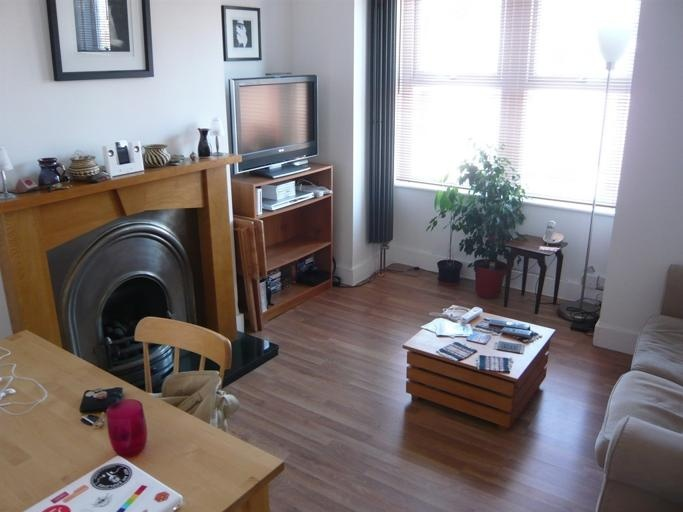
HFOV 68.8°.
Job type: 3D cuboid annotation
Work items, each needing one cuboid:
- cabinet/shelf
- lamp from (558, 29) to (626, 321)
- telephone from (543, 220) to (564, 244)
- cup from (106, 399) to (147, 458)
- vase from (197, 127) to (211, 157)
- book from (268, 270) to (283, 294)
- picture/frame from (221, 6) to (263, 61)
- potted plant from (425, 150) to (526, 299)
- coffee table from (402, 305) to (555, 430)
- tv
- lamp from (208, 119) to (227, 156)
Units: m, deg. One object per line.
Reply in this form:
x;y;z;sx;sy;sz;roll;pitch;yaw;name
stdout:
-0.555;-0.120;4.585;0.372;1.262;1.118;11;29;26;cabinet/shelf
2.159;-0.662;4.257;0.323;2.402;0.960;6;25;24;lamp
1.964;-0.215;4.595;0.151;0.169;0.161;11;35;35;telephone
-0.752;0.612;1.739;0.127;0.181;0.128;-1;19;0;cup
-1.012;-0.830;3.654;0.100;0.201;0.145;-6;23;-5;vase
-0.633;0.245;4.715;0.031;0.171;0.192;7;22;26;book
-0.872;-1.950;4.386;0.102;0.454;0.485;9;26;29;picture/frame
1.351;-0.334;4.865;0.838;1.378;0.627;12;28;34;potted plant
0.887;0.716;3.349;0.760;0.378;0.723;11;26;32;coffee table
-0.635;-1.163;4.414;0.272;0.722;0.966;13;24;31;tv
-0.932;-0.894;3.737;0.096;0.270;0.236;-10;23;-14;lamp
